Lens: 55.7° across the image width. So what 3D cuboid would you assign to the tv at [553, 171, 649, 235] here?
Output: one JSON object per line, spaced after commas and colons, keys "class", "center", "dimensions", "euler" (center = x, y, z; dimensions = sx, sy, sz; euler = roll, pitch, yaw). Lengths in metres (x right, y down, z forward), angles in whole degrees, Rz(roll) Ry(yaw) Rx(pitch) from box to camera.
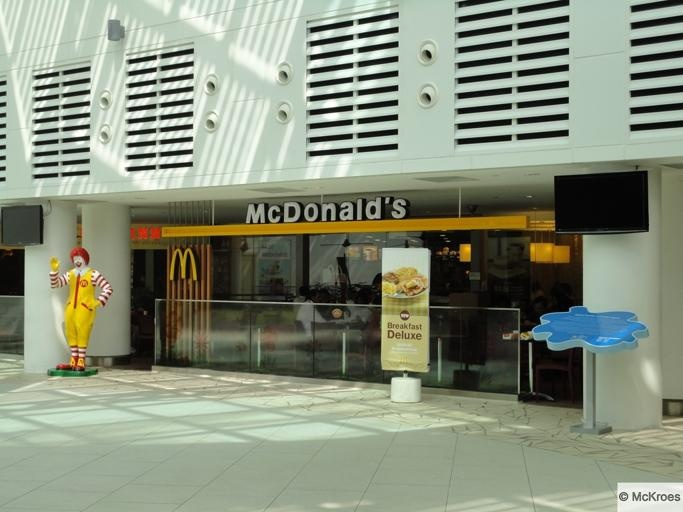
{"class": "tv", "center": [4.197, -0.821, 10.487], "dimensions": [1.485, 1.058, 0.149], "euler": [1, 5, 37]}
